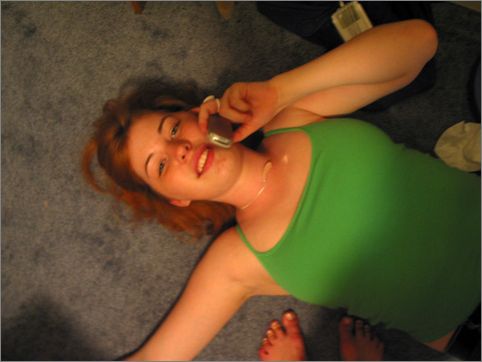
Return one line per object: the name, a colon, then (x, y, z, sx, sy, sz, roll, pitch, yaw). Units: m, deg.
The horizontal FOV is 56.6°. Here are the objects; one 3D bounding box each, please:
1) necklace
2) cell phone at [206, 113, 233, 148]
necklace: (0.068, 0.024, 2.104, 0.287, 0.062, 0.048, -41, 105, 0)
cell phone: (-0.085, -0.205, 1.851, 0.098, 0.089, 0.129, -1, 85, 6)
